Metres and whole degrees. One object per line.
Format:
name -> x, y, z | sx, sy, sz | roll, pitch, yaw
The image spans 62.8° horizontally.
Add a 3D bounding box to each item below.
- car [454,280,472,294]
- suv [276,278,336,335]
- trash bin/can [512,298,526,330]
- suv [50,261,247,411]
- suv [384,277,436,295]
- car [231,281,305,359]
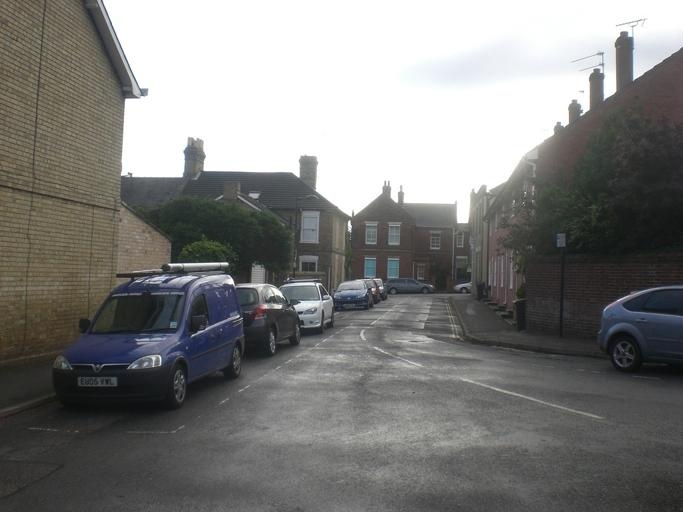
car -> 13.646, 3.458, 61.886 | 2.422, 1.022, 1.149 | 3, -4, -2
suv -> -1.297, 1.907, 20.231 | 1.407, 1.268, 3.329 | -1, -6, 8
trash bin/can -> 6.721, 2.239, 21.129 | 0.384, 1.239, 0.514 | 0, 0, 12
suv -> -3.274, 1.433, 9.971 | 1.875, 2.173, 3.309 | -1, -1, 12
suv -> 7.214, 3.670, 60.791 | 4.346, 1.740, 2.226 | -2, 1, 9
car -> -1.934, 1.663, 15.156 | 0.939, 1.042, 2.073 | -2, -1, 16
